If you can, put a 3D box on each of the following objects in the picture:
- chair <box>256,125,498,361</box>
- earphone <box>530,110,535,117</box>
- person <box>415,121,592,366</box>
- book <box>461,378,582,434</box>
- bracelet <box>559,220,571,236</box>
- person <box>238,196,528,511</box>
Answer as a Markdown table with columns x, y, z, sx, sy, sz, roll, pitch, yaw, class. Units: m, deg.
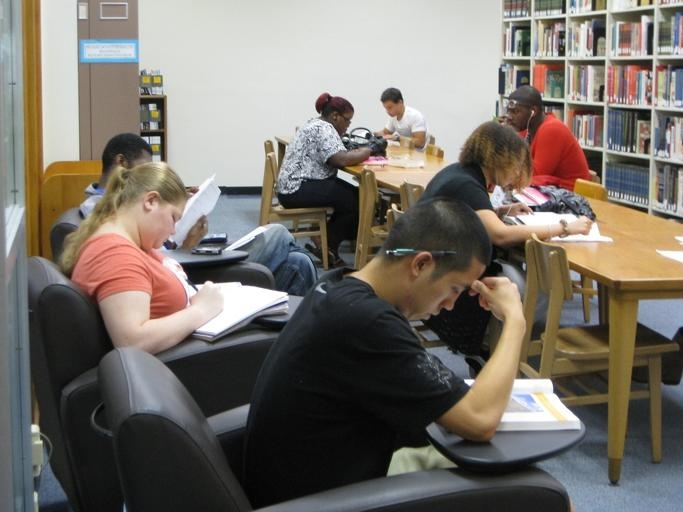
| x | y | z | sx | sy | sz | roll | pitch | yaw | class |
| --- | --- | --- | --- | --- | --- | --- | --- | --- | --- |
| 0.313 | -0.294 | 3.252 | 0.950 | 1.859 | 0.704 | -5 | 23 | -6 | chair |
| 1.419 | -1.062 | 4.242 | 0.021 | 0.033 | 0.016 | 2 | -9 | -6 | earphone |
| 0.785 | -0.024 | 2.973 | 0.808 | 1.295 | 0.667 | 2 | 12 | 9 | person |
| 0.455 | 0.365 | 1.366 | 0.173 | 0.043 | 0.208 | -2 | 7 | -3 | book |
| 1.063 | -0.134 | 2.725 | 0.061 | 0.064 | 0.064 | 1 | -11 | 12 | bracelet |
| 0.131 | 0.260 | 1.579 | 0.603 | 0.983 | 0.619 | 5 | 17 | -22 | person |
